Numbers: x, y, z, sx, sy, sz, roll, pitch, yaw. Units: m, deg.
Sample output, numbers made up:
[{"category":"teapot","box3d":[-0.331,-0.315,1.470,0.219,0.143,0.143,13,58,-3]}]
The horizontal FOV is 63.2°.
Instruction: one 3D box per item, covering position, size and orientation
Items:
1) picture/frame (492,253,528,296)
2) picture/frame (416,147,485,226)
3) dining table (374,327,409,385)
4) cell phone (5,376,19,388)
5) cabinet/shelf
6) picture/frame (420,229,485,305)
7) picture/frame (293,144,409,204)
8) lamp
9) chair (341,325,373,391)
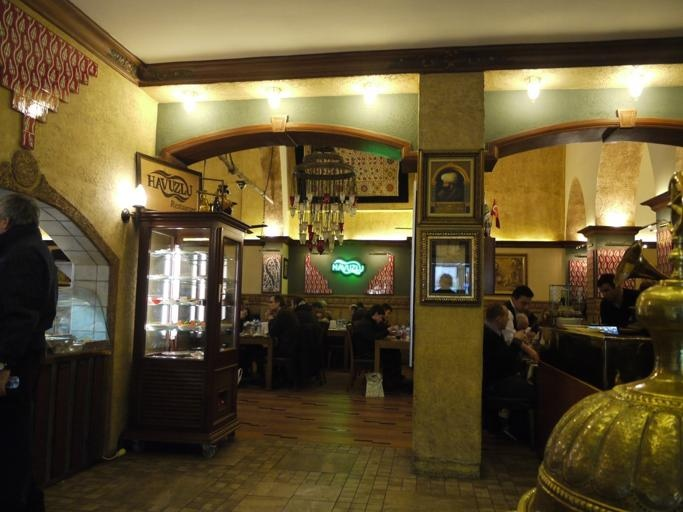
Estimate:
[{"category":"picture/frame","box3d":[3.596,0.398,11.744,0.864,0.966,0.097,3,-6,11]},{"category":"picture/frame","box3d":[1.015,-0.625,5.074,0.674,0.833,0.068,0,-4,6]},{"category":"dining table","box3d":[0.742,1.473,8.288,0.496,0.590,1.032,1,-2,5]},{"category":"cell phone","box3d":[-2.147,0.827,3.623,0.078,0.092,0.042,3,-3,-44]},{"category":"cabinet/shelf","box3d":[-1.555,0.716,5.598,0.979,2.282,0.783,1,-2,7]},{"category":"picture/frame","box3d":[1.016,0.112,5.028,0.637,0.814,0.053,0,-2,4]},{"category":"picture/frame","box3d":[0.241,-1.596,11.265,1.801,1.363,0.090,-3,-29,-1]},{"category":"lamp","box3d":[-0.344,-1.765,11.980,1.168,3.734,1.269,1,2,14]},{"category":"chair","box3d":[0.349,1.516,8.403,0.517,1.007,0.532,-1,-8,7]}]
